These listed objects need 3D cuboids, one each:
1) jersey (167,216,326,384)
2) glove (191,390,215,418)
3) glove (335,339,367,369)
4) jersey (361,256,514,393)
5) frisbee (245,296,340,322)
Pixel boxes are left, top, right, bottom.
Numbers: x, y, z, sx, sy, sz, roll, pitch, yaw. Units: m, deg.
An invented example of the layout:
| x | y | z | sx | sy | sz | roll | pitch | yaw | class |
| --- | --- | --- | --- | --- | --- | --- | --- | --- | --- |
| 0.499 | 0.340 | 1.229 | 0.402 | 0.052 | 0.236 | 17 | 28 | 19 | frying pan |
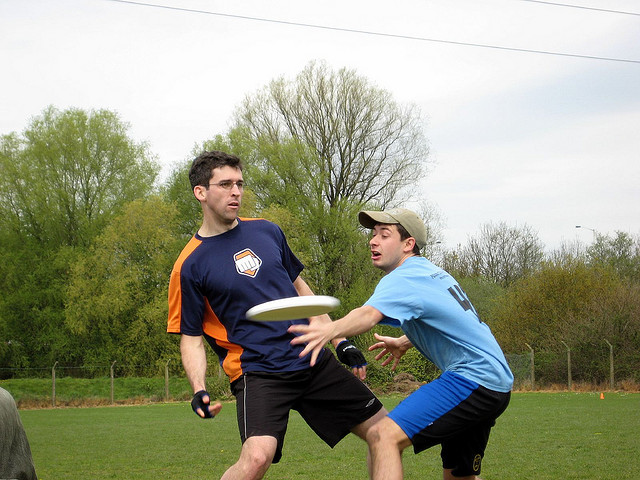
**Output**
| x | y | z | sx | sy | sz | roll | pitch | yaw | class |
| --- | --- | --- | --- | --- | --- | --- | --- | --- | --- |
| -0.781 | 0.631 | 6.526 | 1.611 | 1.761 | 0.887 | -19 | 16 | -30 | jersey |
| -1.156 | 1.620 | 5.993 | 0.190 | 0.278 | 0.238 | 0 | -8 | -12 | glove |
| 0.313 | 1.219 | 6.463 | 0.237 | 0.149 | 0.308 | -25 | 47 | -27 | glove |
| 1.275 | 0.759 | 5.978 | 1.171 | 0.699 | 1.707 | 26 | -5 | 7 | jersey |
| -0.248 | 0.644 | 5.724 | 0.478 | 0.088 | 0.413 | -5 | -20 | 2 | frisbee |
